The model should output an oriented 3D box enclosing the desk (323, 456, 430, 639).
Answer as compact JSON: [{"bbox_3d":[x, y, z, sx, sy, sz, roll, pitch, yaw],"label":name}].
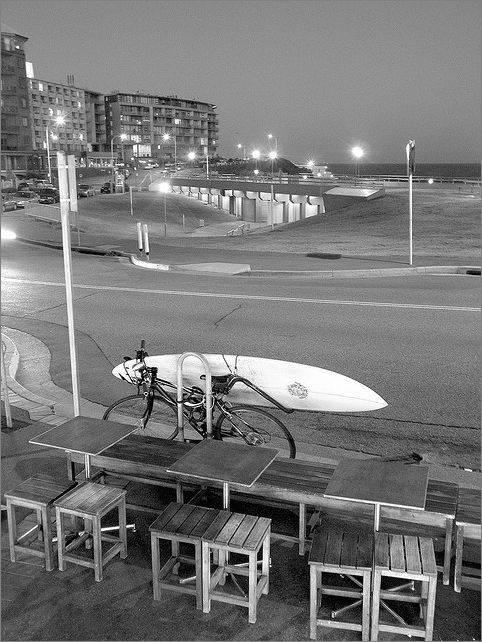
[{"bbox_3d":[0.967,1.431,3.812,0.720,0.865,0.813,4,15,20],"label":"desk"}]

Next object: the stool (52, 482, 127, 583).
[{"bbox_3d":[-1.205,1.646,4.017,0.316,0.548,0.351,7,-11,-15],"label":"stool"}]

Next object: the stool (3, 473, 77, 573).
[{"bbox_3d":[-1.648,1.513,4.315,0.453,0.842,0.552,3,7,18],"label":"stool"}]

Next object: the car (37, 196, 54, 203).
[{"bbox_3d":[-17.868,-11.173,49.167,1.334,0.692,2.711,-3,12,-21],"label":"car"}]

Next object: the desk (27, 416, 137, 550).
[{"bbox_3d":[-1.312,1.195,4.532,0.517,0.634,0.574,9,18,19],"label":"desk"}]

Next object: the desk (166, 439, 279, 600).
[{"bbox_3d":[-0.120,1.246,3.987,0.507,0.640,0.595,8,23,18],"label":"desk"}]

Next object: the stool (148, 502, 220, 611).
[{"bbox_3d":[-0.435,1.603,3.840,0.448,0.827,0.527,3,8,17],"label":"stool"}]

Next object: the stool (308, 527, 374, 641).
[{"bbox_3d":[0.625,1.714,3.598,0.437,0.818,0.518,0,8,3],"label":"stool"}]

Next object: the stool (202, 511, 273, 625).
[{"bbox_3d":[-0.033,1.688,3.714,0.341,0.615,0.392,5,12,21],"label":"stool"}]
